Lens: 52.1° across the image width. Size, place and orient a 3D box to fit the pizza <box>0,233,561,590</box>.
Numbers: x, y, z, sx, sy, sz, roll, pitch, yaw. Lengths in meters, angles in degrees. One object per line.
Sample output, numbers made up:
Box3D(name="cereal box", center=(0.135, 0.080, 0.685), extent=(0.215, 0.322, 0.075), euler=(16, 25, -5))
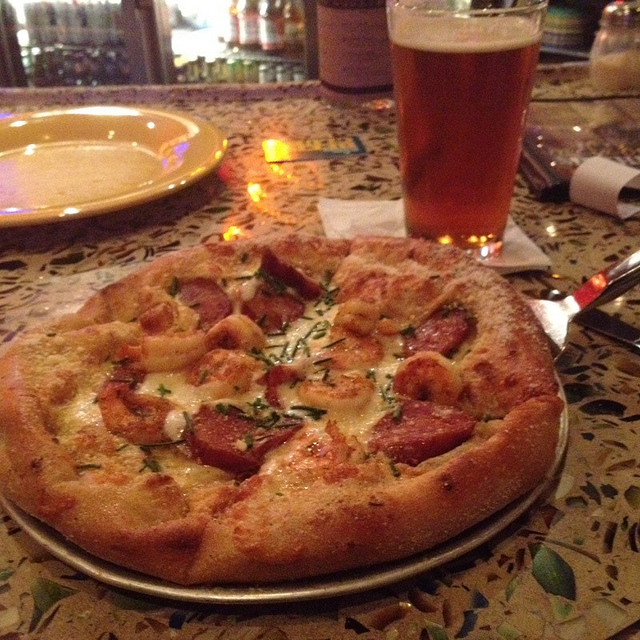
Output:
Box3D(name="pizza", center=(-0.080, 0.048, 0.874), extent=(0.756, 0.153, 0.675), euler=(3, 27, 9))

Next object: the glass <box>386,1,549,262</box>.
Box3D(name="glass", center=(0.226, -0.298, 1.087), extent=(0.231, 0.413, 0.117), euler=(2, 35, 7))
